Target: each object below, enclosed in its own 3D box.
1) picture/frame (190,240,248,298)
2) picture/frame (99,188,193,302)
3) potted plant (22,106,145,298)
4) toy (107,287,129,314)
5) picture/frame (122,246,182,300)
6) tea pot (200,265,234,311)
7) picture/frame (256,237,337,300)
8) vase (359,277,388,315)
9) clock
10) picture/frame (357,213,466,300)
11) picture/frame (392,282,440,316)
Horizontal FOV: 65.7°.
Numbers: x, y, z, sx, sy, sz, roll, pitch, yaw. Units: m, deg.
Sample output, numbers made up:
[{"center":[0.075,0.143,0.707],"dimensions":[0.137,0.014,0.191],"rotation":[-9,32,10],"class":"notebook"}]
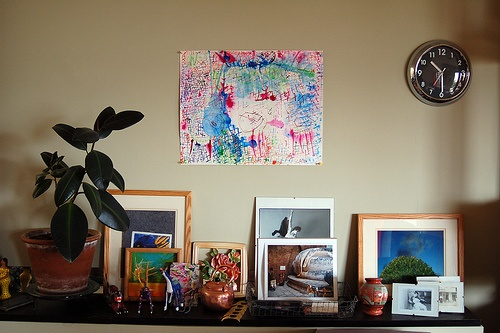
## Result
[{"center":[-0.216,0.743,2.771],"dimensions":[0.423,0.411,0.033],"rotation":[1,-17,-2],"class":"picture/frame"},{"center":[-0.742,0.581,2.775],"dimensions":[0.834,0.984,0.074],"rotation":[1,-4,1],"class":"picture/frame"},{"center":[-1.162,0.221,2.632],"dimensions":[0.722,1.159,0.501],"rotation":[2,-3,43],"class":"potted plant"},{"center":[-0.915,0.910,2.682],"dimensions":[0.077,0.105,0.252],"rotation":[0,12,-36],"class":"toy"},{"center":[-0.686,0.766,2.757],"dimensions":[0.366,0.318,0.036],"rotation":[-1,-12,-2],"class":"picture/frame"},{"center":[-0.210,0.836,2.759],"dimensions":[0.232,0.322,0.319],"rotation":[2,-1,21],"class":"tea pot"},{"center":[0.319,0.736,2.746],"dimensions":[0.442,0.329,0.019],"rotation":[1,-16,-1],"class":"picture/frame"},{"center":[0.872,0.917,2.778],"dimensions":[0.218,0.241,0.214],"rotation":[-6,-10,23],"class":"vase"},{"center":[1.371,-0.704,2.819],"dimensions":[0.488,0.477,0.095],"rotation":[0,-4,-1],"class":"clock"},{"center":[1.154,0.663,2.797],"dimensions":[0.637,0.516,0.026],"rotation":[0,-9,-1],"class":"picture/frame"},{"center":[1.137,0.913,2.656],"dimensions":[0.225,0.156,0.016],"rotation":[2,-13,9],"class":"picture/frame"}]
